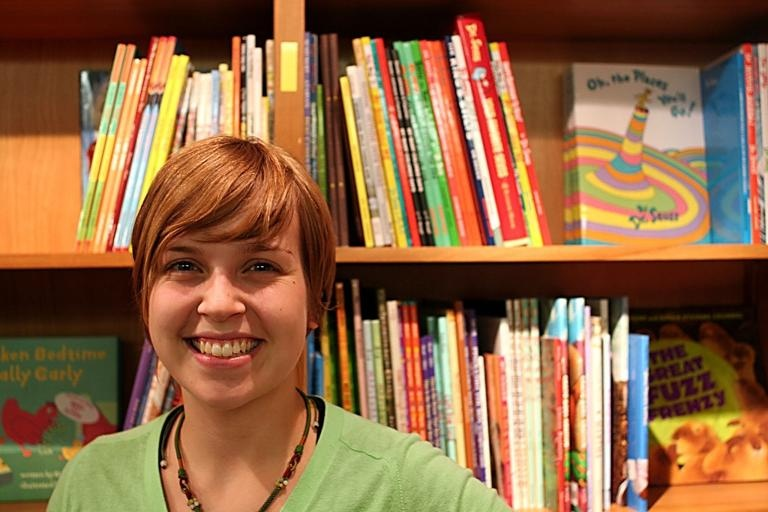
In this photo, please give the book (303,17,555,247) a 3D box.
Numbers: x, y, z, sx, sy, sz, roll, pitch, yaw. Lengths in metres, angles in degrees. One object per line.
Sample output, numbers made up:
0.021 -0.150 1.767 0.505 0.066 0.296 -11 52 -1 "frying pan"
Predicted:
0.086 -0.321 2.035 0.651 0.583 0.215 -3 -5 -3 "book"
